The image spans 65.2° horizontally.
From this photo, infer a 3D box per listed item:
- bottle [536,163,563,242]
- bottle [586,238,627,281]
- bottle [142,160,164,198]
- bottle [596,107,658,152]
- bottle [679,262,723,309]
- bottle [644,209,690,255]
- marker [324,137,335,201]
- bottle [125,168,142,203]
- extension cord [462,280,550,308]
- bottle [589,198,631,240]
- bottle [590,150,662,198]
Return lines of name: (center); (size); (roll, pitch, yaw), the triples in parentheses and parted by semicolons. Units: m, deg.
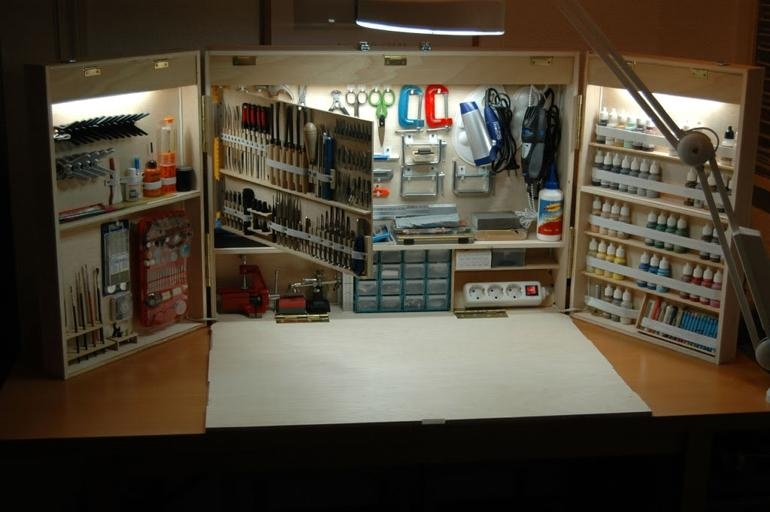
bottle: (1.077, -0.337, 3.965); (0.140, 0.502, 0.159); (4, 20, 14)
bottle: (1.419, 0.022, 3.814); (0.073, 0.215, 0.218); (-9, 19, -36)
bottle: (-1.342, -0.433, 3.433); (0.105, 0.202, 0.077); (-7, 13, -36)
bottle: (1.450, -0.756, 3.603); (0.287, 0.279, 0.199); (-3, 19, -9)
bottle: (1.798, 0.171, 3.418); (0.109, 0.230, 0.160); (-3, 16, -15)
bottle: (1.667, -0.138, 3.518); (0.217, 0.217, 0.075); (13, 23, 39)
marker: (-0.295, -0.451, 3.105); (0.058, 0.329, 0.040); (1, 10, -1)
bottle: (-1.414, -0.390, 3.344); (0.080, 0.181, 0.051); (-6, 13, -33)
extension cord: (0.773, 0.260, 4.094); (0.721, 0.202, 0.190); (-1, -10, -6)
bottle: (1.423, -0.232, 3.759); (0.072, 0.201, 0.209); (-17, 24, -41)
bottle: (1.468, -0.528, 3.648); (0.209, 0.295, 0.342); (-9, 18, -29)
